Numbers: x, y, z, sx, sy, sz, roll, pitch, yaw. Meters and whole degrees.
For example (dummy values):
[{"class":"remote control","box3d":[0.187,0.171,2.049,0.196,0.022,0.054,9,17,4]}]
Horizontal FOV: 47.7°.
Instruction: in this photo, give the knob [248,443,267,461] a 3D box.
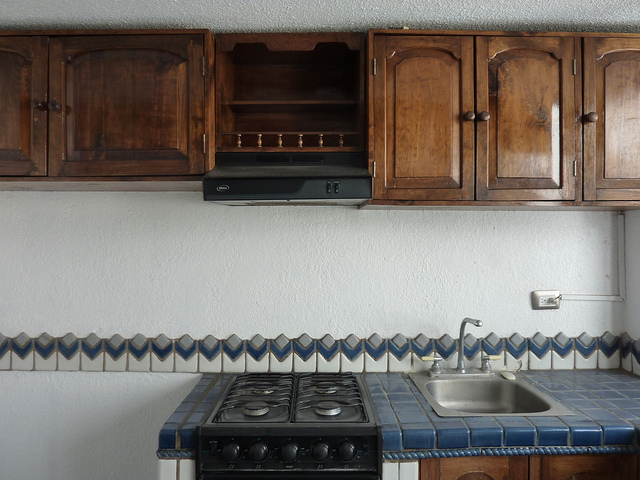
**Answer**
[{"class":"knob","box3d":[-0.278,0.936,3.190,0.103,0.073,0.044,-1,-5,3]}]

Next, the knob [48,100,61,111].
[{"class":"knob","box3d":[-1.261,-0.638,3.423,0.052,0.049,0.052,-3,2,-8]}]

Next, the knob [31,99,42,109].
[{"class":"knob","box3d":[-1.346,-0.647,3.428,0.046,0.045,0.032,-3,2,-22]}]

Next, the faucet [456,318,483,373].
[{"class":"faucet","box3d":[0.755,0.539,3.682,0.103,0.283,0.226,-4,2,-15]}]

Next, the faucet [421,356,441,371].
[{"class":"faucet","box3d":[0.576,0.641,3.753,0.101,0.062,0.083,-2,2,5]}]

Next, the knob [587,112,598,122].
[{"class":"knob","box3d":[1.294,-0.587,3.447,0.036,0.043,0.042,-3,2,-10]}]

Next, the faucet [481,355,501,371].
[{"class":"faucet","box3d":[0.887,0.635,3.751,0.080,0.067,0.112,-1,2,29]}]

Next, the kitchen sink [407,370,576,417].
[{"class":"kitchen sink","box3d":[0.815,0.783,3.538,0.688,0.189,0.489,-2,2,-2]}]

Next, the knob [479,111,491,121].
[{"class":"knob","box3d":[0.786,-0.594,3.451,0.054,0.046,0.058,-2,2,11]}]

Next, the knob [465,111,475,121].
[{"class":"knob","box3d":[0.711,-0.593,3.444,0.042,0.045,0.039,-2,2,15]}]

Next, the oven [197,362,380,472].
[{"class":"oven","box3d":[-0.129,0.828,3.477,0.811,0.371,0.615,-2,2,2]}]

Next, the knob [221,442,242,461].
[{"class":"knob","box3d":[-0.397,0.936,3.192,0.111,0.079,0.049,-2,4,4]}]
